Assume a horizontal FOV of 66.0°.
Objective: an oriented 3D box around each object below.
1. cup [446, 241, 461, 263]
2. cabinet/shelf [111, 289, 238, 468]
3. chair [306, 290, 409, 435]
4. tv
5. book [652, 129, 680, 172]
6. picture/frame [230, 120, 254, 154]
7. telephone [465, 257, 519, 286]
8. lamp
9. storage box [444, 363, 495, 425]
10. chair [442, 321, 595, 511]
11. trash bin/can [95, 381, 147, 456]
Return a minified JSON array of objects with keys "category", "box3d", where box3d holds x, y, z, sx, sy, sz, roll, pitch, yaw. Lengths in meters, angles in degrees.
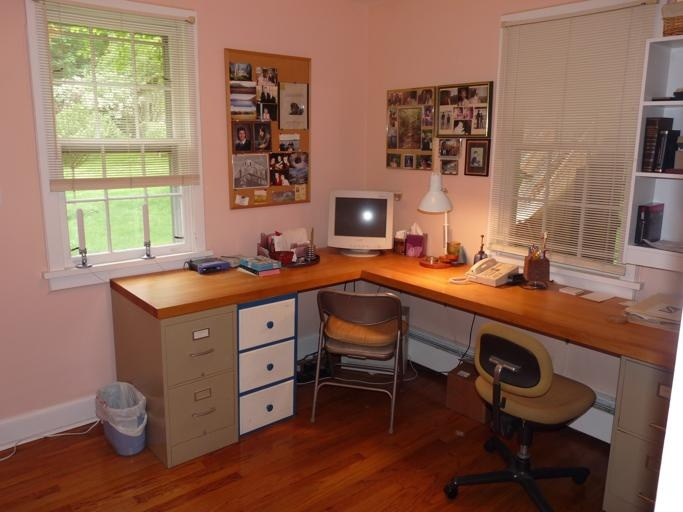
[{"category":"cup","box3d":[0.844,-0.043,4.019,0.141,0.139,0.114,-6,11,-38]},{"category":"cabinet/shelf","box3d":[-1.058,0.673,3.638,1.030,1.313,0.670,10,15,43]},{"category":"chair","box3d":[0.133,0.598,3.571,0.553,0.885,0.651,5,14,14]},{"category":"tv","box3d":[0.157,-0.269,4.271,0.513,0.497,0.234,1,-2,-2]},{"category":"book","box3d":[1.811,-0.585,2.933,0.113,0.227,0.102,7,18,32]},{"category":"picture/frame","box3d":[-0.739,-0.883,3.903,0.036,0.220,0.191,11,20,41]},{"category":"telephone","box3d":[1.039,0.060,3.563,0.270,0.097,0.193,-16,19,-34]},{"category":"lamp","box3d":[0.732,-0.297,3.928,0.268,0.671,0.547,1,15,13]},{"category":"storage box","box3d":[0.921,0.929,3.730,0.327,0.258,0.332,10,16,39]},{"category":"chair","box3d":[1.066,0.962,3.065,0.723,0.924,0.755,-13,18,-36]},{"category":"trash bin/can","box3d":[-1.408,1.004,3.371,0.388,0.399,0.270,13,18,41]}]
